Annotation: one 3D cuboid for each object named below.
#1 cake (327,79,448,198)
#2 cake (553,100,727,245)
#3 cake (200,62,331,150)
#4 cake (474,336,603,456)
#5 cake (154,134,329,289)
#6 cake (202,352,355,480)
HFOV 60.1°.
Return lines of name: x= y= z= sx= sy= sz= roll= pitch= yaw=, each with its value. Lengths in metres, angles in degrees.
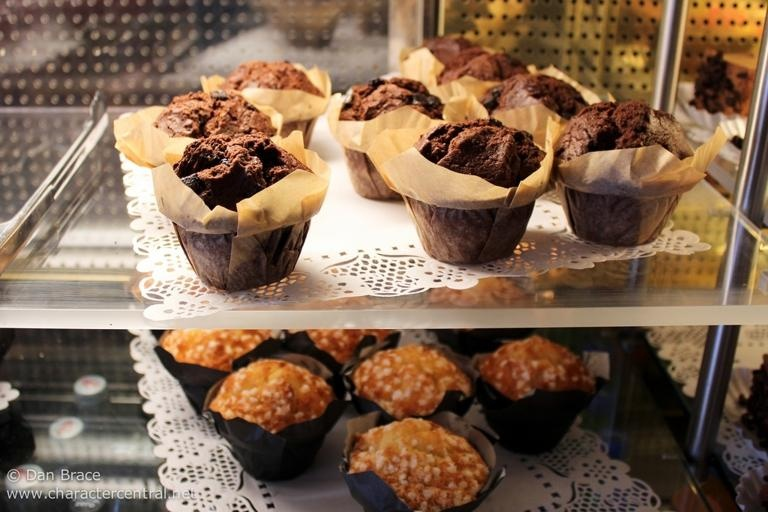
cake: x=0.014 y=-0.279 z=1.489 sx=0.265 sy=0.238 sz=0.267 roll=1 pitch=25 yaw=3
cake: x=0.444 y=-0.165 z=1.298 sx=0.306 sy=0.218 sz=0.289 roll=-18 pitch=28 yaw=-35
cake: x=-0.281 y=-0.416 z=1.645 sx=0.263 sy=0.160 sz=0.259 roll=-8 pitch=34 yaw=-17
cake: x=0.308 y=0.247 z=1.331 sx=0.231 sy=0.189 sz=0.234 roll=-1 pitch=5 yaw=2
cake: x=-0.247 y=-0.048 z=1.169 sx=0.254 sy=0.184 sz=0.256 roll=-7 pitch=36 yaw=-12
cake: x=-0.207 y=0.368 z=1.307 sx=0.254 sy=0.141 sz=0.259 roll=5 pitch=28 yaw=5
